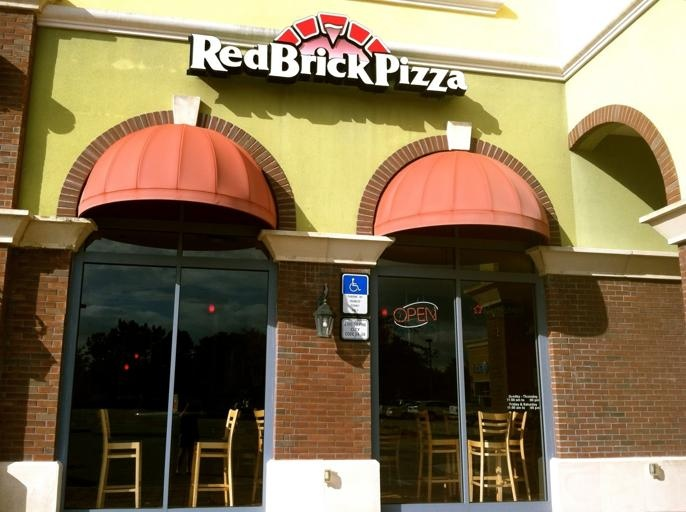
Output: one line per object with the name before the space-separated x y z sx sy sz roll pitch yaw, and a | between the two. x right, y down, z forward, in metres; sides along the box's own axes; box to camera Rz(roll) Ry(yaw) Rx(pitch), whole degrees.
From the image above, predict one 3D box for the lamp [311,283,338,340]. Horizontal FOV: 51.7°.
lamp | -0.362 1.064 14.147 0.425 1.117 0.530 1 -19 -1
